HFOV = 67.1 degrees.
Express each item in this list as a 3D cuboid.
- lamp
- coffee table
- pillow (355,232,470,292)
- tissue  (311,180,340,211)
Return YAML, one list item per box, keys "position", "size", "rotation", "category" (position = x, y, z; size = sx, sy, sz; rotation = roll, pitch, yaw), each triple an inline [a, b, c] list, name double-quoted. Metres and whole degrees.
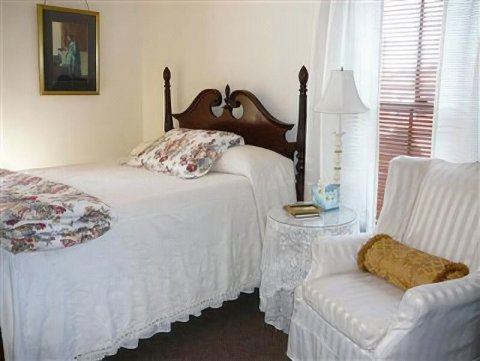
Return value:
- position: [0.695, -0.300, 2.558]
  size: [0.334, 0.933, 0.317]
  rotation: [20, 36, 39]
  category: "lamp"
- position: [0.353, 0.447, 2.535]
  size: [0.714, 0.754, 0.700]
  rotation: [-4, 16, -41]
  category: "coffee table"
- position: [0.851, 0.421, 1.886]
  size: [0.241, 0.155, 0.376]
  rotation: [-25, 19, -21]
  category: "pillow"
- position: [0.596, 0.108, 2.488]
  size: [0.169, 0.184, 0.175]
  rotation: [-1, 4, -31]
  category: "tissue "
